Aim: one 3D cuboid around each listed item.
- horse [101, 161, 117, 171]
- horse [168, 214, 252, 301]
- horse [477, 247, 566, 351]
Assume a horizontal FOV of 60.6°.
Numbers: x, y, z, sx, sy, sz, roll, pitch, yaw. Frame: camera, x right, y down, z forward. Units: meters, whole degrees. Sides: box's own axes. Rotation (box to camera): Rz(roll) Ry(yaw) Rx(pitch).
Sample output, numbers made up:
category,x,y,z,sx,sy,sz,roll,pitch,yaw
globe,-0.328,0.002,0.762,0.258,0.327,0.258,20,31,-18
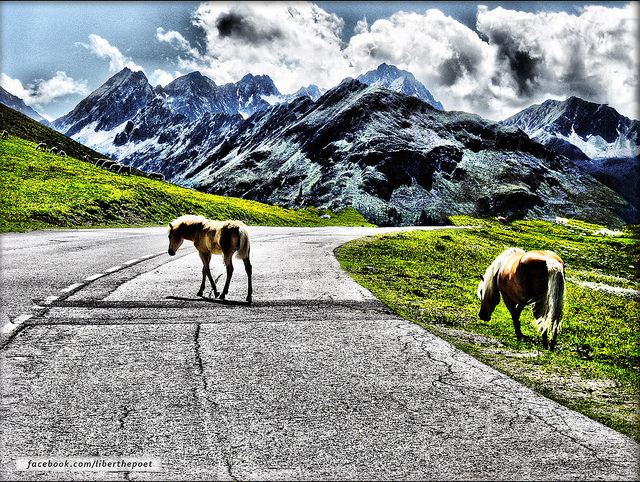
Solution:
category,x,y,z,sx,sy,sz,roll,pitch,yaw
horse,-38.453,-13.536,99.218,1.559,1.839,1.902,10,8,8
horse,-3.199,0.462,16.023,3.299,2.501,0.895,2,0,34
horse,4.984,1.349,13.435,0.725,2.326,2.408,1,9,-15
